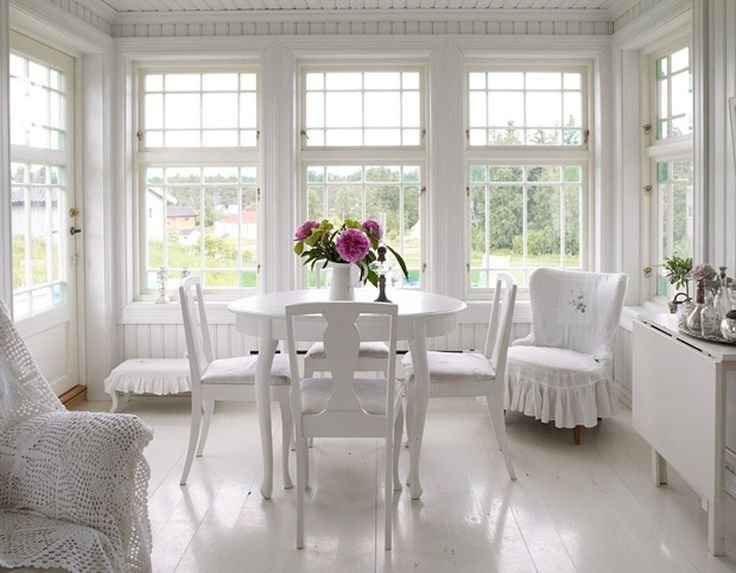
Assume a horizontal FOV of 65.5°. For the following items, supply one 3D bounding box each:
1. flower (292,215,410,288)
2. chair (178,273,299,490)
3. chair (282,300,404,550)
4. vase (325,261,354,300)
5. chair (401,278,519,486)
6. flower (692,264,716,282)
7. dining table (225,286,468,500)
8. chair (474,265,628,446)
[{"bbox_3d":[-0.090,-0.185,3.104,0.548,0.362,0.496,3,10,22],"label":"flower"},{"bbox_3d":[-0.888,0.512,3.720,0.913,1.696,0.926,0,3,-5],"label":"chair"},{"bbox_3d":[-0.116,0.554,2.674,0.500,1.065,0.615,0,9,2],"label":"chair"},{"bbox_3d":[-0.163,-0.030,3.134,0.159,0.250,0.171,0,-2,-9],"label":"vase"},{"bbox_3d":[0.568,0.491,3.687,0.886,1.585,0.906,1,-1,2],"label":"chair"},{"bbox_3d":[1.572,-0.062,2.677,0.080,0.056,0.096,-1,-3,2],"label":"flower"},{"bbox_3d":[-0.154,0.572,3.309,1.286,1.088,1.253,0,3,-23],"label":"dining table"},{"bbox_3d":[1.226,0.375,3.723,0.749,1.035,0.791,4,3,18],"label":"chair"}]
